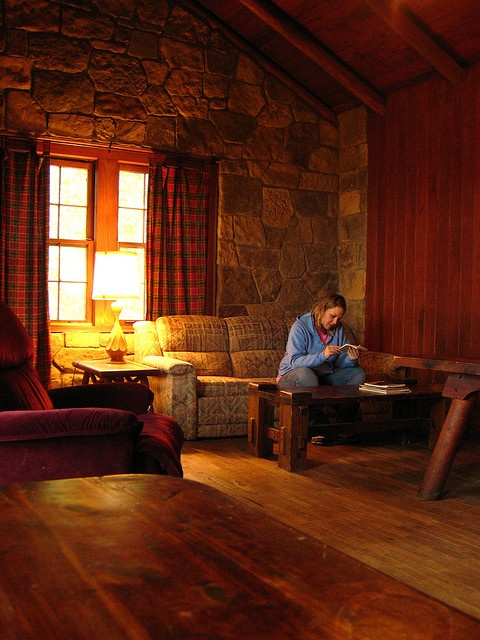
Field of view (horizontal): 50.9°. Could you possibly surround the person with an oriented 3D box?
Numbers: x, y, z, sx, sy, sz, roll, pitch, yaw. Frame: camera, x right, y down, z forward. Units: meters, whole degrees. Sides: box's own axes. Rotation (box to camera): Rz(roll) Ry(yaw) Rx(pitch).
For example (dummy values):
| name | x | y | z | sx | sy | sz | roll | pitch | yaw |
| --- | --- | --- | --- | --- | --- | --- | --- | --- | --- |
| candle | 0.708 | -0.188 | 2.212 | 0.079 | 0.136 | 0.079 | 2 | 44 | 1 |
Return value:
| name | x | y | z | sx | sy | sz | roll | pitch | yaw |
| --- | --- | --- | --- | --- | --- | --- | --- | --- | --- |
| person | 0.592 | 0.346 | 3.835 | 0.572 | 1.023 | 0.768 | 2 | 1 | -34 |
